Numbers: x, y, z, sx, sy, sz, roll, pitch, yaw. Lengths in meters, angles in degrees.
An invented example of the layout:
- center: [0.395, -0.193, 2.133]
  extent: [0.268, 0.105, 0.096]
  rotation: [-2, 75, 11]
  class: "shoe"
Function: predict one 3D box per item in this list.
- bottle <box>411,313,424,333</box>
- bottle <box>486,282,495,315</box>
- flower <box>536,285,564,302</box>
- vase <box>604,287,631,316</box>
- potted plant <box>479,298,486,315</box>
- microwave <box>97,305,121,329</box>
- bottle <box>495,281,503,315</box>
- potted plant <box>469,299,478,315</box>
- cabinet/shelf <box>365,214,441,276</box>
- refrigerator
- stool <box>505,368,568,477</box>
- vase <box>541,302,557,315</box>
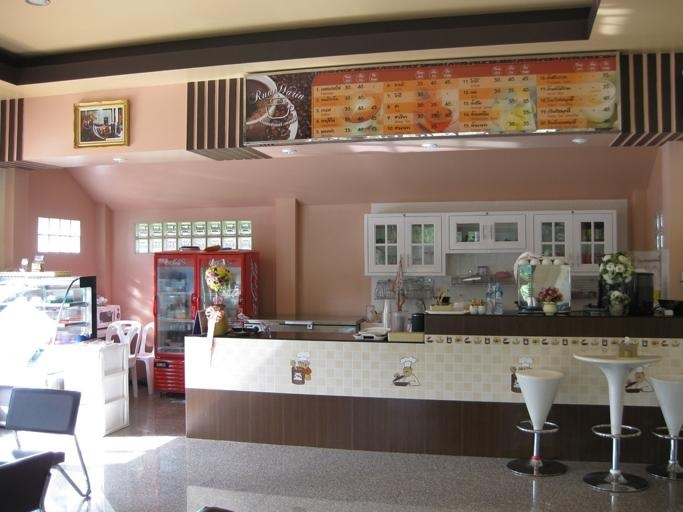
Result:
- center: [0.786, 0.699, 6.048]
  extent: [0.120, 0.202, 0.262]
  rotation: [-3, 6, -14]
  class: "bottle"
- center: [1.577, 0.438, 6.082]
  extent: [0.099, 0.275, 0.366]
  rotation: [0, 5, 16]
  class: "bottle"
- center: [2.135, 0.386, 5.906]
  extent: [0.171, 0.113, 0.174]
  rotation: [2, 5, 44]
  class: "flower"
- center: [2.791, 0.458, 5.813]
  extent: [0.203, 0.252, 0.250]
  rotation: [1, 6, 26]
  class: "vase"
- center: [1.461, 0.525, 5.953]
  extent: [0.058, 0.129, 0.131]
  rotation: [2, 6, 29]
  class: "potted plant"
- center: [-3.397, 0.866, 8.417]
  extent: [0.291, 0.286, 0.445]
  rotation: [1, 3, 16]
  class: "microwave"
- center: [1.639, 0.442, 6.014]
  extent: [0.078, 0.303, 0.220]
  rotation: [1, 6, 19]
  class: "bottle"
- center: [1.362, 0.532, 5.995]
  extent: [0.098, 0.115, 0.129]
  rotation: [0, -3, 3]
  class: "potted plant"
- center: [0.911, -0.166, 8.029]
  extent: [0.919, 0.693, 0.342]
  rotation: [0, -2, 11]
  class: "cabinet/shelf"
- center: [-2.029, 0.914, 8.304]
  extent: [1.341, 1.992, 0.565]
  rotation: [-1, 5, -2]
  class: "refrigerator"
- center: [1.890, 1.574, 5.557]
  extent: [0.549, 0.943, 0.527]
  rotation: [0, 6, 16]
  class: "stool"
- center: [2.126, 0.538, 5.936]
  extent: [0.126, 0.107, 0.131]
  rotation: [0, 3, 18]
  class: "vase"
